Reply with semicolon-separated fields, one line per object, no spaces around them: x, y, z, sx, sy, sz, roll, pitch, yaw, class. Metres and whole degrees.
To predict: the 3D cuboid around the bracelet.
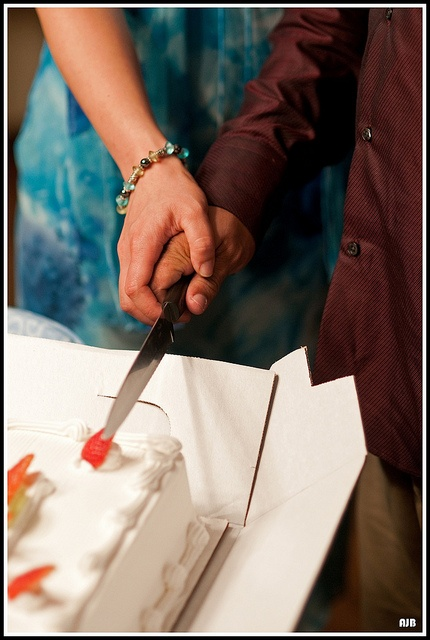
-0.095;-0.249;0.956;0.025;0.097;0.119;32;64;10;bracelet

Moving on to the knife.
-0.078;0.042;0.767;0.026;0.041;0.292;-36;23;39;knife

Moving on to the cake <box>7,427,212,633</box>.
-0.126;0.225;0.615;0.189;0.087;0.198;7;50;23;cake
